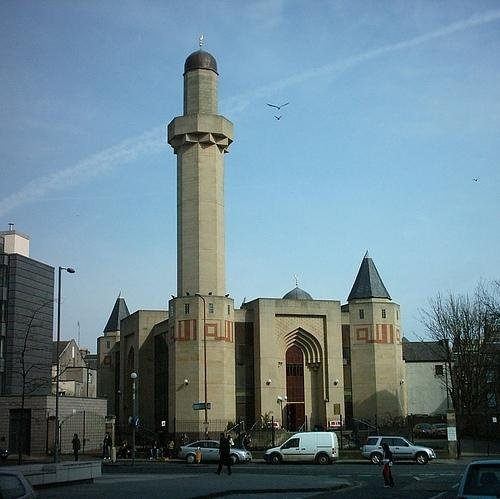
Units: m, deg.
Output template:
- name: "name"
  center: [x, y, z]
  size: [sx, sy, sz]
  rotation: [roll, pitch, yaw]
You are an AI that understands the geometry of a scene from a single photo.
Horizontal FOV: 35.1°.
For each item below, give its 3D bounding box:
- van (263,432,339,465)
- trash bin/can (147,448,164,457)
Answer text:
- name: "van"
  center: [2.681, 10.717, 42.636]
  size: [3.715, 2.002, 2.039]
  rotation: [-1, -15, 11]
- name: "trash bin/can"
  center: [-6.074, 12.935, 50.280]
  size: [0.827, 0.689, 3.070]
  rotation: [-1, -14, -7]
